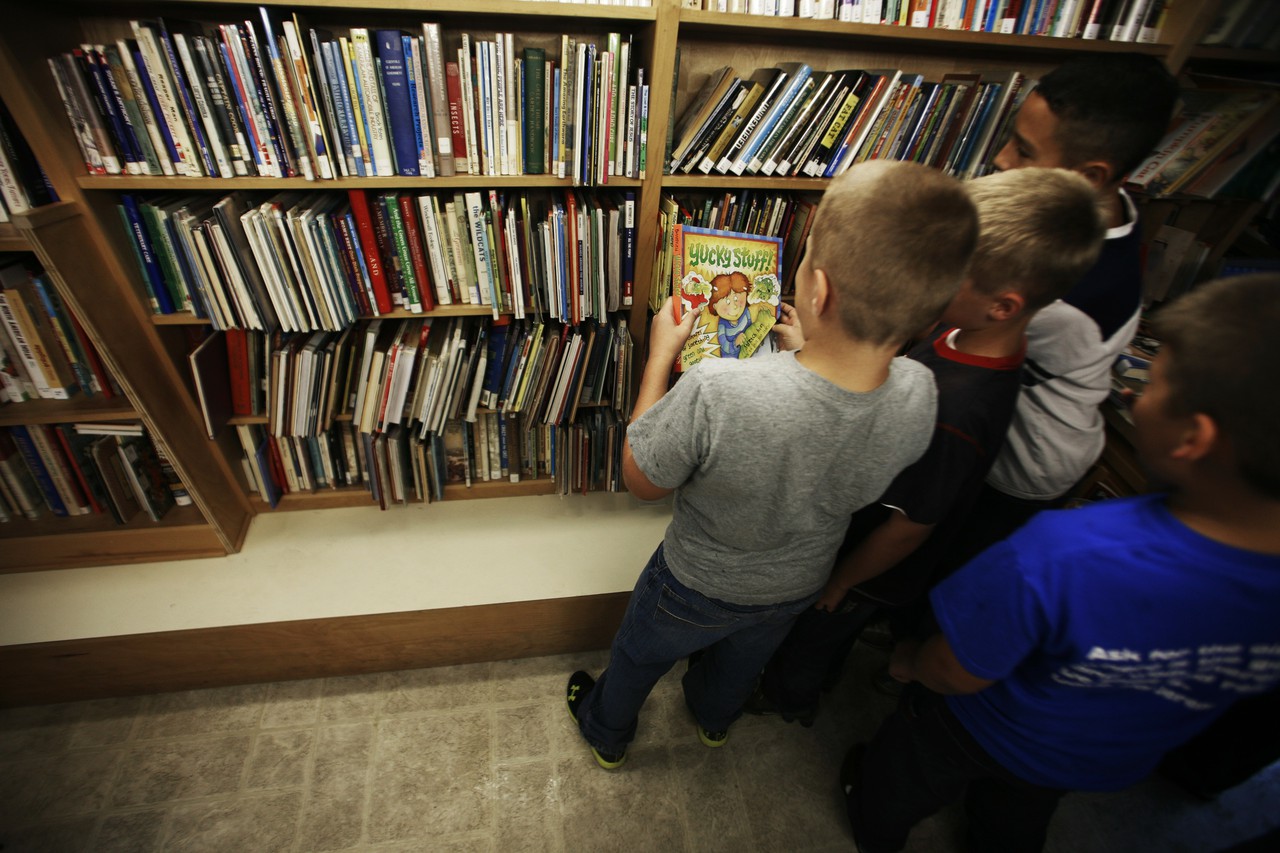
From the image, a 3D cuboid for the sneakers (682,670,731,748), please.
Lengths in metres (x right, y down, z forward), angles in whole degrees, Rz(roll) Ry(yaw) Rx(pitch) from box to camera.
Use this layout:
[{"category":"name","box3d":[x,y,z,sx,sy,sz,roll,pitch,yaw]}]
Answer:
[{"category":"sneakers","box3d":[0.212,0.965,2.747,0.125,0.313,0.143,-12,-6,-5]}]

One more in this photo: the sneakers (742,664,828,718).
[{"category":"sneakers","box3d":[0.509,0.953,2.742,0.236,0.081,0.234,-12,-6,33]}]
